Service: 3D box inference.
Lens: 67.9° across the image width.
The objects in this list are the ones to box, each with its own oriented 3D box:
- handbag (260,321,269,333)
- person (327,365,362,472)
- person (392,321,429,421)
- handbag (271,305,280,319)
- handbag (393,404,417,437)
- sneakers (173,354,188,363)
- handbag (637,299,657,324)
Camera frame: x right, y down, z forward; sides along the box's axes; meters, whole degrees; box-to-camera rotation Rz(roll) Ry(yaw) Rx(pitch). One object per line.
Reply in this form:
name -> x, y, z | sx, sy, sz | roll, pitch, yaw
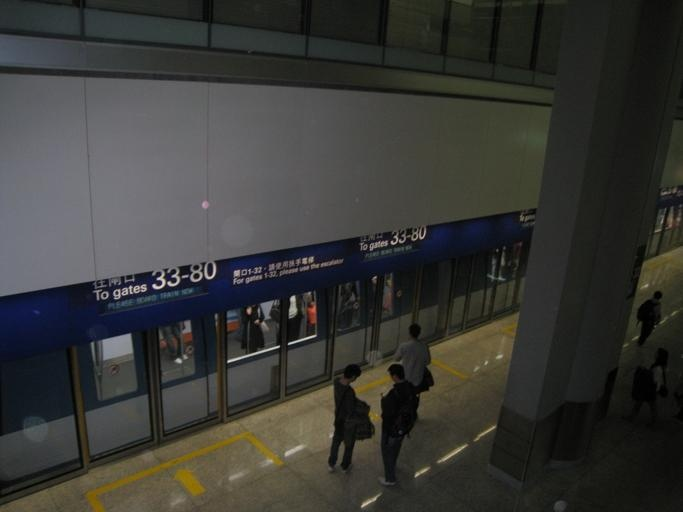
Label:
handbag -> -1.307, 1.204, 8.656 | 0.158, 0.171, 0.064 | -14, 13, -35
person -> 0.030, 2.340, 7.210 | 0.498, 1.786, 0.279 | 9, 21, 34
person -> 1.141, 1.904, 8.346 | 0.563, 1.610, 0.484 | 4, 8, -5
handbag -> -1.131, 0.940, 8.641 | 0.178, 0.292, 0.148 | 0, 40, -21
handbag -> 0.910, 2.243, 7.017 | 0.142, 0.503, 0.404 | 10, 22, 36
sneakers -> -2.513, 1.596, 7.937 | 0.174, 0.066, 0.094 | -15, 52, -35
handbag -> 2.784, 0.509, 4.620 | 0.106, 0.220, 0.150 | -5, 23, -22
